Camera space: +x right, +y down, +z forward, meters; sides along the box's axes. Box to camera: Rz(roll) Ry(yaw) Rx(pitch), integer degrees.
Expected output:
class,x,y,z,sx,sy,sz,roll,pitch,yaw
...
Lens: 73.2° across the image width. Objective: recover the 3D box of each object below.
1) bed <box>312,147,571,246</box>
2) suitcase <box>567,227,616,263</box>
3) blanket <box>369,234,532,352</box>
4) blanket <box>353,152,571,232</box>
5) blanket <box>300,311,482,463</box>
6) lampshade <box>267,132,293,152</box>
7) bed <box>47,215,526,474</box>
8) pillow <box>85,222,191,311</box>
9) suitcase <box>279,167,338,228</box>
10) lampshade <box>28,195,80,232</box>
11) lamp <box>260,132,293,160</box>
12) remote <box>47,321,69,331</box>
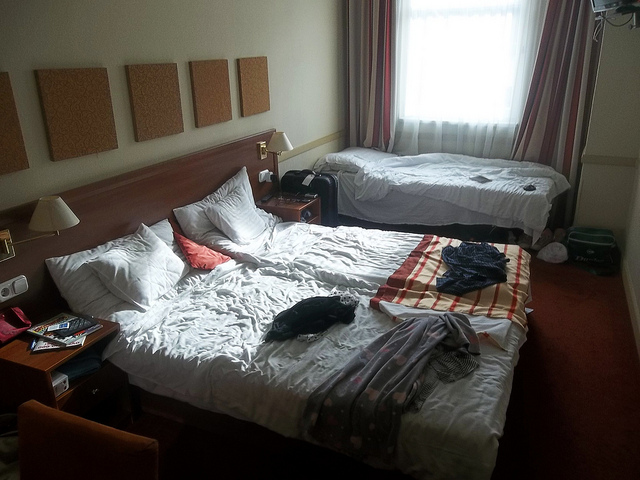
class,x,y,z,sx,sy,sz,roll,pitch,yaw
bed,1.464,-0.525,5.893,2.649,0.828,1.704,11,6,27
suitcase,3.017,0.085,4.821,0.472,0.357,0.353,8,25,34
blanket,1.019,0.367,3.340,1.078,0.632,1.547,7,14,20
blanket,1.708,-0.685,5.251,1.468,0.417,1.526,14,32,25
blanket,0.483,0.860,2.668,0.630,0.444,1.299,2,15,42
lampshade,-0.433,-1.032,4.578,0.192,0.136,0.216,-26,35,-35
bed,-0.252,0.598,2.827,2.771,0.849,1.335,13,26,27
pillow,-1.311,0.225,3.183,0.576,0.172,0.519,43,39,2
suitcase,-0.151,-0.473,4.964,0.579,0.839,0.312,5,26,13
lampshade,-1.645,-0.147,2.640,0.197,0.240,0.235,8,9,8
lamp,-0.452,-1.011,4.684,0.326,0.260,0.236,0,26,15
remote,-1.647,0.546,2.709,0.147,0.015,0.080,0,11,-3
